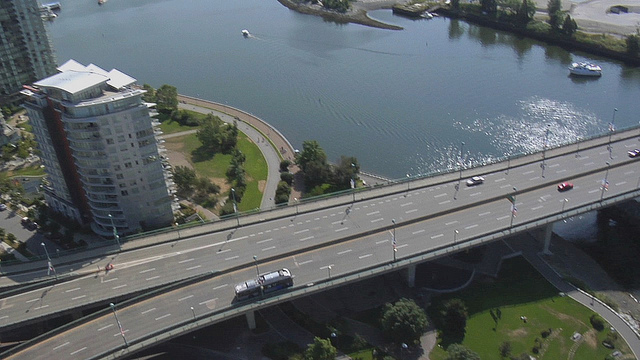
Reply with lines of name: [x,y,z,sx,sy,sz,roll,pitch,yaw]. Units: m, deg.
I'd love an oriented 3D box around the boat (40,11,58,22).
boat: [-210.057,-127.209,554.136,6.453,5.505,13.219,11,37,19]

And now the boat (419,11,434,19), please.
boat: [79.172,-123.579,536.477,5.997,2.009,5.856,-12,39,-9]
